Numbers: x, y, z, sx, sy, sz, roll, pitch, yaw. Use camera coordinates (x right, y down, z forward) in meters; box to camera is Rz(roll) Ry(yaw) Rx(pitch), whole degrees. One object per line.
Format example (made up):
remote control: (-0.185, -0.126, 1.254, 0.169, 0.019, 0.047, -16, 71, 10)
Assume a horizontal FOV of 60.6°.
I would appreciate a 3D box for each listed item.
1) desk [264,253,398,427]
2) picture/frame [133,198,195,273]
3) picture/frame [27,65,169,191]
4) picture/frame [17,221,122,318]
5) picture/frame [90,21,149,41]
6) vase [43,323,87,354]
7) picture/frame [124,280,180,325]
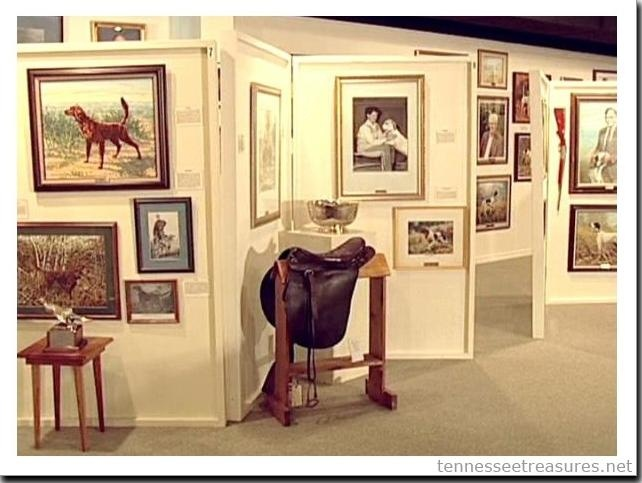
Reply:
desk: (0.045, 0.764, 4.212, 1.154, 1.491, 0.745, -1, -1, -20)
picture/frame: (-1.101, -0.068, 3.857, 0.474, 0.687, 0.067, 0, 7, 0)
picture/frame: (-1.545, -0.819, 3.775, 0.793, 0.807, 0.057, 0, 9, 4)
picture/frame: (-1.777, 0.168, 3.847, 0.625, 0.552, 0.033, 1, 7, 10)
picture/frame: (-2.022, -2.105, 5.512, 0.507, 0.184, 0.307, -4, 14, -18)
vase: (-1.675, 0.611, 3.607, 0.186, 0.117, 0.193, 1, 4, -1)
picture/frame: (-1.196, 0.412, 3.893, 0.286, 0.260, 0.030, 0, 7, 0)
